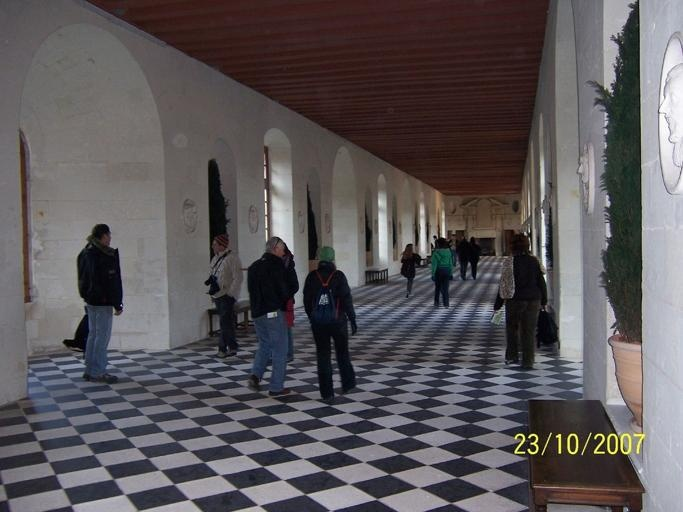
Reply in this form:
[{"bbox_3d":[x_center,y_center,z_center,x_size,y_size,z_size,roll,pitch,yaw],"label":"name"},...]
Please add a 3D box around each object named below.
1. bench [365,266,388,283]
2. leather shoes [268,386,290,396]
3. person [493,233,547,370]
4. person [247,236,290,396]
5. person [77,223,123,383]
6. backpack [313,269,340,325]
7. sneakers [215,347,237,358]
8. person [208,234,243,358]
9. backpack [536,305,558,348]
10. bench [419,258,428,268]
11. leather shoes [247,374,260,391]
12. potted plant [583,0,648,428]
[{"bbox_3d":[1.492,0.761,21.195,0.841,0.606,2.067,-1,3,9],"label":"bench"},{"bbox_3d":[-0.801,1.716,6.487,0.267,0.122,0.101,-1,2,-13],"label":"leather shoes"},{"bbox_3d":[2.697,0.655,7.623,0.711,2.004,0.690,0,1,18],"label":"person"},{"bbox_3d":[-0.939,0.759,6.515,0.499,2.006,0.526,-1,1,-11],"label":"person"},{"bbox_3d":[-3.376,0.658,7.076,0.486,2.228,0.675,-2,1,-40],"label":"person"},{"bbox_3d":[-0.188,0.498,6.212,0.352,0.645,0.326,-6,3,-41],"label":"backpack"},{"bbox_3d":[-1.964,1.634,8.587,0.339,0.177,0.135,6,-5,-35],"label":"sneakers"},{"bbox_3d":[-1.924,0.666,8.440,0.750,2.054,0.436,0,1,42],"label":"person"},{"bbox_3d":[3.376,1.100,8.252,0.346,0.639,0.288,-3,-19,20],"label":"backpack"},{"bbox_3d":[5.338,0.414,32.958,0.585,0.466,0.614,0,6,4],"label":"bench"},{"bbox_3d":[-1.171,1.665,6.706,0.104,0.113,0.256,5,-31,15],"label":"leather shoes"},{"bbox_3d":[1.629,-0.230,3.001,0.260,2.557,0.537,0,1,28],"label":"potted plant"}]
